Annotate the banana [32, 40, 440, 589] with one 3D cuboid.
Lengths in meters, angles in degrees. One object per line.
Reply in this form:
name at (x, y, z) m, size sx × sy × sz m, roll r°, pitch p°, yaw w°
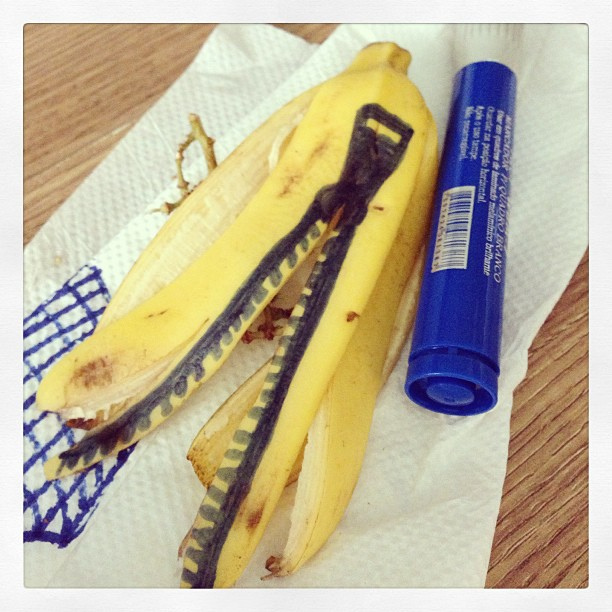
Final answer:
banana at (-0.012, 0.020, 0.609) m, size 0.234 × 0.385 × 0.107 m, roll 29°, pitch -5°, yaw 11°
